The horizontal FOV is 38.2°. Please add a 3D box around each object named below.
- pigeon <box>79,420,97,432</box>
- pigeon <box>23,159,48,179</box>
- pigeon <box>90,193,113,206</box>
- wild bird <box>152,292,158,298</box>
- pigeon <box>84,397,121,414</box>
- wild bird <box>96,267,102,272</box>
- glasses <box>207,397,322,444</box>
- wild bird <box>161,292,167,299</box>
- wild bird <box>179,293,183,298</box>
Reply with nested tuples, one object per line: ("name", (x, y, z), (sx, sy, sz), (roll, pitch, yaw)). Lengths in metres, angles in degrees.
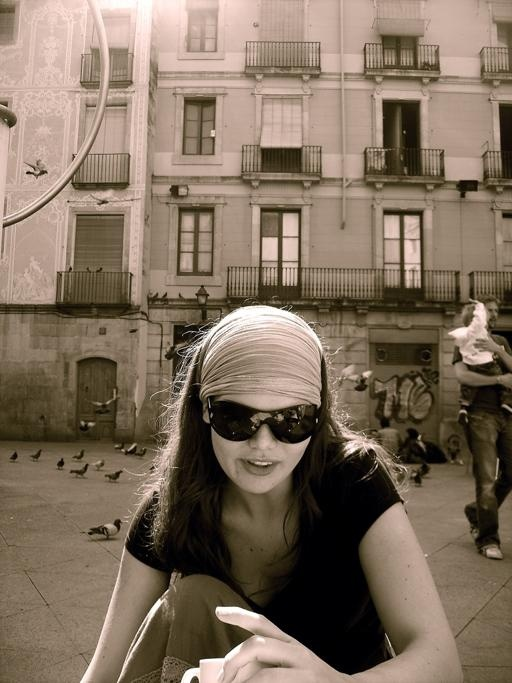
("pigeon", (-3.616, 1.807, 15.921), (0.217, 0.308, 0.674), (1, -19, -4))
("pigeon", (-4.980, -3.858, 16.645), (0.282, 0.486, 0.561), (17, -3, -21))
("pigeon", (-3.548, -3.254, 16.957), (0.293, 0.328, 0.083), (-3, -22, 12))
("wild bird", (-2.317, -1.067, 17.046), (0.077, 0.140, 0.125), (0, 9, -14))
("pigeon", (-3.355, 1.432, 16.246), (0.560, 0.339, 0.428), (2, -10, -7))
("wild bird", (-3.550, -1.621, 16.827), (0.104, 0.139, 0.209), (4, -3, 16))
("glasses", (0.013, 0.216, 1.990), (0.292, 0.117, 0.100), (5, -3, -4))
("wild bird", (-2.099, -1.049, 17.026), (0.121, 0.190, 0.192), (4, -3, 3))
("wild bird", (-1.731, -1.039, 16.965), (0.108, 0.149, 0.124), (5, -3, -13))
